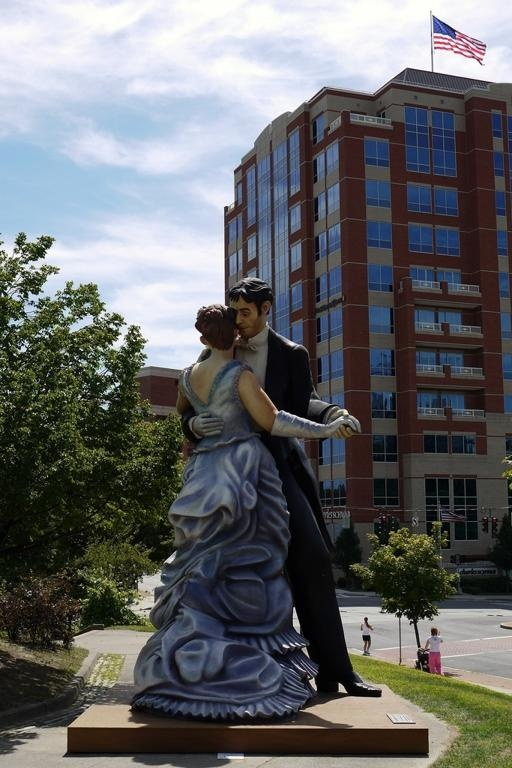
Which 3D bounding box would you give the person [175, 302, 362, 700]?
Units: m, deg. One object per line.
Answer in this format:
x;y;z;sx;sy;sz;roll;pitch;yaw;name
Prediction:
0.346;0.899;7.224;1.450;3.778;0.939;-1;-10;7;person
